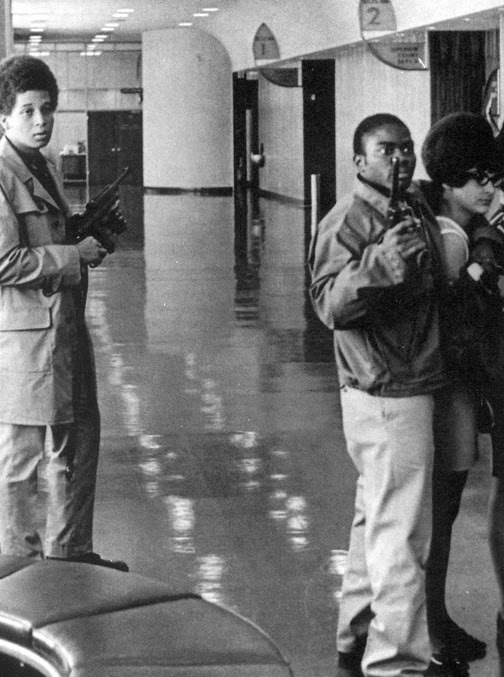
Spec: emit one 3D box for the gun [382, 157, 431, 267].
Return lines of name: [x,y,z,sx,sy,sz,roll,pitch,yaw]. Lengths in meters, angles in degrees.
gun: [0.344,-0.279,2.444,0.090,0.241,0.107,1,9,9]
